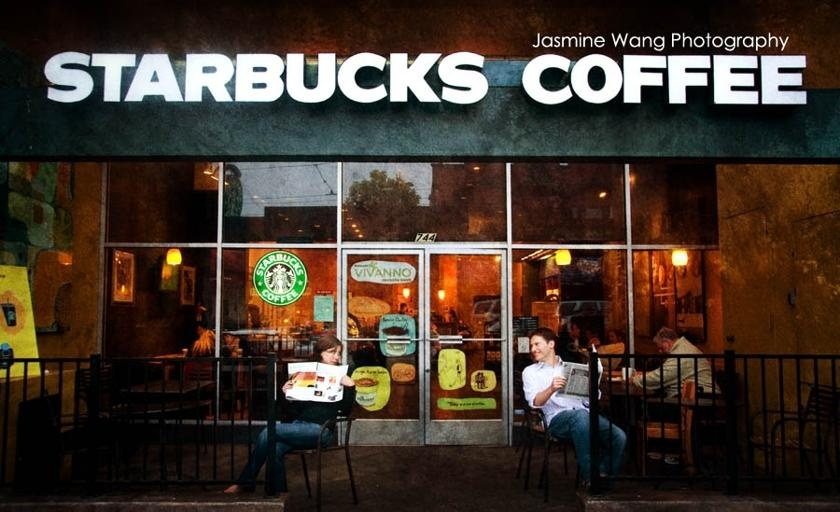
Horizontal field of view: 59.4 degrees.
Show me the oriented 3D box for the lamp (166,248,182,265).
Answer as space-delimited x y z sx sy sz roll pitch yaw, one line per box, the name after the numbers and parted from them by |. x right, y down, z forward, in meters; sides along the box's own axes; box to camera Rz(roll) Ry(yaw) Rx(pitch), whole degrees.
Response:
-4.054 0.020 12.141 0.264 0.243 0.258 -2 4 -13 | lamp

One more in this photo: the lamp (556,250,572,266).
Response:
2.327 0.048 12.015 0.245 0.216 0.237 1 0 -33 | lamp

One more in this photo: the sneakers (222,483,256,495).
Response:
-2.234 2.867 9.122 0.373 0.133 0.230 -2 5 -11 | sneakers

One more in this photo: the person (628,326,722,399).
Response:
3.668 1.700 10.974 1.229 1.096 0.984 -6 -8 -18 | person

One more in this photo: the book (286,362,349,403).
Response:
-1.329 1.619 9.463 0.756 0.534 0.046 1 -29 2 | book

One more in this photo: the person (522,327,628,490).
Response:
1.966 2.029 9.483 0.623 2.012 1.335 -6 7 -43 | person

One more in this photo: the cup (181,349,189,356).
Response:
-3.854 1.593 12.091 0.108 0.116 0.109 3 -6 0 | cup

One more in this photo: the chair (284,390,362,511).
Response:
-1.324 2.711 10.186 1.192 1.654 1.328 10 -15 -39 | chair

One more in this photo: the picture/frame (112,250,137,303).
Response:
-4.917 0.364 12.252 0.427 0.940 0.094 4 6 5 | picture/frame

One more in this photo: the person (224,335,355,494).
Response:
-1.589 2.000 9.345 0.752 1.804 1.434 4 7 42 | person

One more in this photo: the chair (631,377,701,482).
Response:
3.394 2.393 10.286 0.854 1.368 1.874 1 6 17 | chair

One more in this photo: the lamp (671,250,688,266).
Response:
4.242 0.042 12.042 0.253 0.237 0.257 2 2 33 | lamp
